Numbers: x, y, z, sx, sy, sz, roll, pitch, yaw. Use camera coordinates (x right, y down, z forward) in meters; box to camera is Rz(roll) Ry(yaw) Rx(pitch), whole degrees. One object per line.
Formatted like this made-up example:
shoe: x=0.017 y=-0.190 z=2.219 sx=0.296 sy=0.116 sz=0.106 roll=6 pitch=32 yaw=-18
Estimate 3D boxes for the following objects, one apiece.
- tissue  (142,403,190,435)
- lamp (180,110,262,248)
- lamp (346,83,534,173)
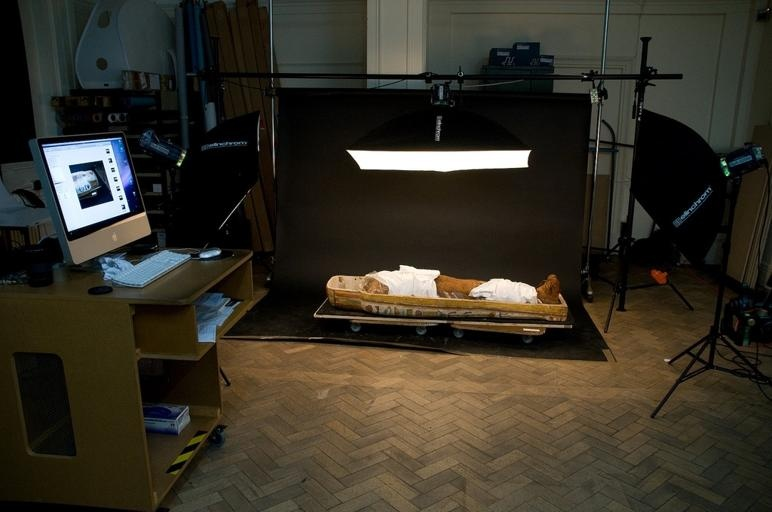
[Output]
tissue : x=-1.612 y=1.188 z=4.154 sx=0.304 sy=0.090 sz=0.210 roll=3 pitch=11 yaw=8
lamp: x=-1.626 y=-0.808 z=5.544 sx=0.853 sy=1.133 sz=0.784 roll=-4 pitch=20 yaw=-11
lamp: x=0.559 y=-1.273 z=5.603 sx=1.266 sy=0.535 sz=1.177 roll=0 pitch=8 yaw=4
